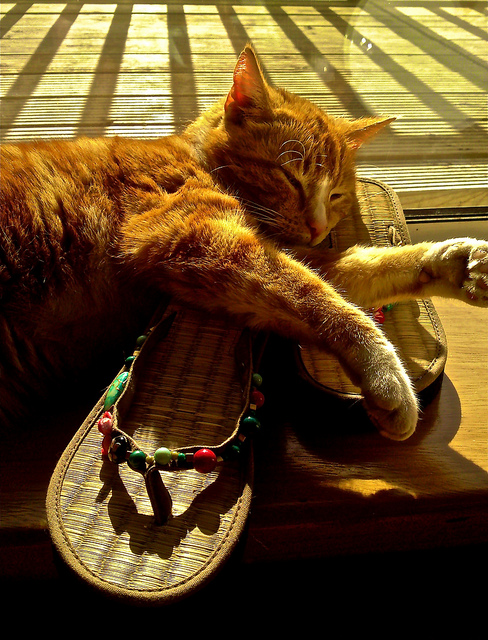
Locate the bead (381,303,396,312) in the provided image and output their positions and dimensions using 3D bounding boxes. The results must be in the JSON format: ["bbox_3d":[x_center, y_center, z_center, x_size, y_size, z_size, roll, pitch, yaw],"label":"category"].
[{"bbox_3d":[0.242,-0.021,0.974,0.010,0.007,0.029,-3,25,23],"label":"bead"}]

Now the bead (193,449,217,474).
[{"bbox_3d":[-0.043,0.157,0.649,0.027,0.022,0.023,0,46,-7],"label":"bead"}]

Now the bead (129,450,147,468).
[{"bbox_3d":[-0.116,0.152,0.643,0.020,0.018,0.018,2,4,7],"label":"bead"}]

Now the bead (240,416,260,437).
[{"bbox_3d":[0.008,0.126,0.685,0.022,0.017,0.024,-1,1,-1],"label":"bead"}]

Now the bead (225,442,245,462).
[{"bbox_3d":[-0.010,0.151,0.668,0.018,0.025,0.009,2,16,-6],"label":"bead"}]

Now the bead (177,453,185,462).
[{"bbox_3d":[-0.070,0.153,0.648,0.006,0.005,0.008,7,10,19],"label":"bead"}]

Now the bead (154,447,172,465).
[{"bbox_3d":[-0.089,0.150,0.645,0.020,0.018,0.018,1,2,8],"label":"bead"}]

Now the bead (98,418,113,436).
[{"bbox_3d":[-0.159,0.122,0.670,0.020,0.019,0.019,-1,-1,-17],"label":"bead"}]

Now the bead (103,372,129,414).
[{"bbox_3d":[-0.155,0.085,0.718,0.016,0.019,0.059,36,53,-19],"label":"bead"}]

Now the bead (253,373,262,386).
[{"bbox_3d":[0.017,0.077,0.756,0.016,0.015,0.014,-3,5,-26],"label":"bead"}]
